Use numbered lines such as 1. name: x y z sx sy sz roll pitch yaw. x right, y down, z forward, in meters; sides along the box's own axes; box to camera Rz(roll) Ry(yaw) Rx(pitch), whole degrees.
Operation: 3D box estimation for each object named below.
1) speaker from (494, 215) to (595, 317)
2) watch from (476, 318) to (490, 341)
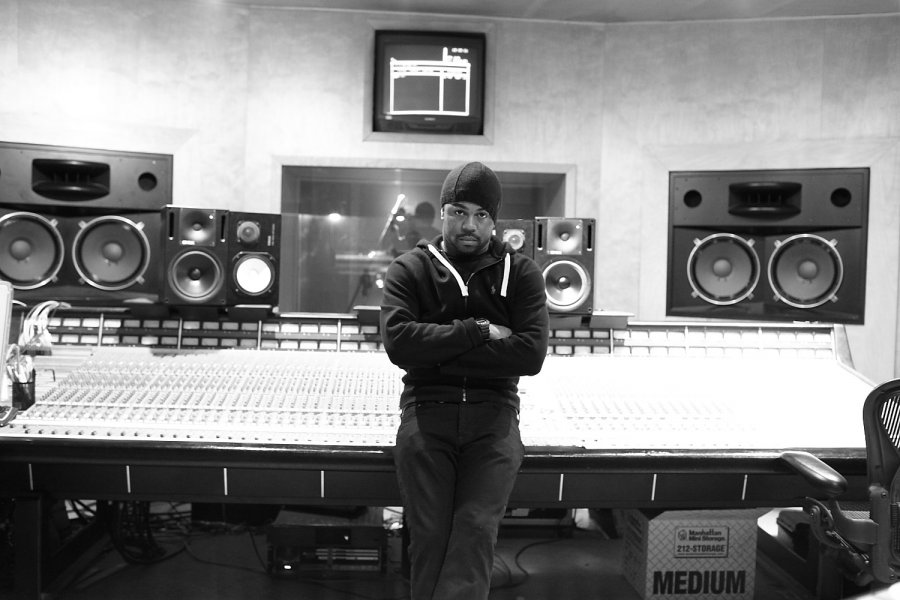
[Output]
1. speaker: 0.554 -0.259 5.899 0.433 0.770 0.760 1 4 -2
2. watch: 0.191 0.154 4.777 0.063 0.094 0.097 -4 19 -10
